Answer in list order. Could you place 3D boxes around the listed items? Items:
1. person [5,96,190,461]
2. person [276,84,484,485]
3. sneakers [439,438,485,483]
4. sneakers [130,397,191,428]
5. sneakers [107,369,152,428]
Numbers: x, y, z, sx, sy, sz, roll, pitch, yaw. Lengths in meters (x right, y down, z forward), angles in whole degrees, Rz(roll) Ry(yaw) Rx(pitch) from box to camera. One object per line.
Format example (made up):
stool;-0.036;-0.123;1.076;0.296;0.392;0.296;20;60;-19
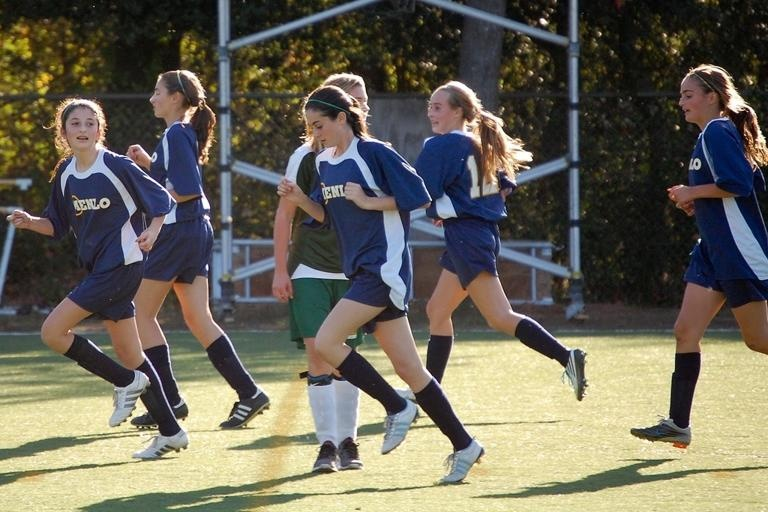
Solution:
person;-2.099;0.151;7.380;1.256;2.595;0.688;-1;6;1
person;-0.031;0.167;6.889;1.430;2.680;0.655;1;7;15
sneakers;0.539;1.411;6.789;0.129;0.297;0.099;44;6;-17
sneakers;-1.802;1.273;7.940;0.553;0.260;0.193;-9;-12;4
sneakers;-1.885;1.082;7.372;0.259;0.510;0.191;13;28;-17
